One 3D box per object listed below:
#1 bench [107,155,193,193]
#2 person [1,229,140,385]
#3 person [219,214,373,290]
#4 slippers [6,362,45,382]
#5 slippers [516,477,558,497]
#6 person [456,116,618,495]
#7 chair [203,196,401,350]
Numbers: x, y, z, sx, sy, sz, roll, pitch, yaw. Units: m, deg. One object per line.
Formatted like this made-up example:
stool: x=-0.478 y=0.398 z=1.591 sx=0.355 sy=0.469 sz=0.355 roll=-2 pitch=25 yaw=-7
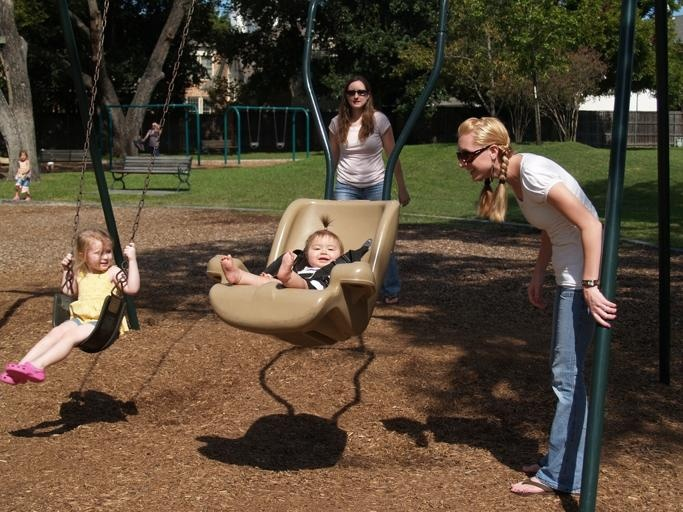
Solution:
bench: x=-4.566 y=-2.004 z=18.342 sx=1.974 sy=0.651 sz=0.675 roll=4 pitch=12 yaw=21
person: x=-1.635 y=0.296 z=4.758 sx=0.616 sy=0.861 sz=0.750 roll=1 pitch=11 yaw=5
person: x=-0.274 y=-0.020 z=4.913 sx=0.726 sy=0.527 sz=1.056 roll=3 pitch=-1 yaw=25
slippers: x=-1.874 y=0.698 z=4.552 sx=0.214 sy=0.101 sz=0.092 roll=13 pitch=43 yaw=-19
slippers: x=1.067 y=1.291 z=4.206 sx=0.182 sy=0.056 sz=0.097 roll=4 pitch=-5 yaw=9
person: x=1.130 y=0.288 z=4.145 sx=0.523 sy=2.065 sz=0.913 roll=-10 pitch=15 yaw=-39
chair: x=-0.174 y=0.068 z=4.720 sx=1.049 sy=0.748 sz=1.260 roll=3 pitch=7 yaw=24
